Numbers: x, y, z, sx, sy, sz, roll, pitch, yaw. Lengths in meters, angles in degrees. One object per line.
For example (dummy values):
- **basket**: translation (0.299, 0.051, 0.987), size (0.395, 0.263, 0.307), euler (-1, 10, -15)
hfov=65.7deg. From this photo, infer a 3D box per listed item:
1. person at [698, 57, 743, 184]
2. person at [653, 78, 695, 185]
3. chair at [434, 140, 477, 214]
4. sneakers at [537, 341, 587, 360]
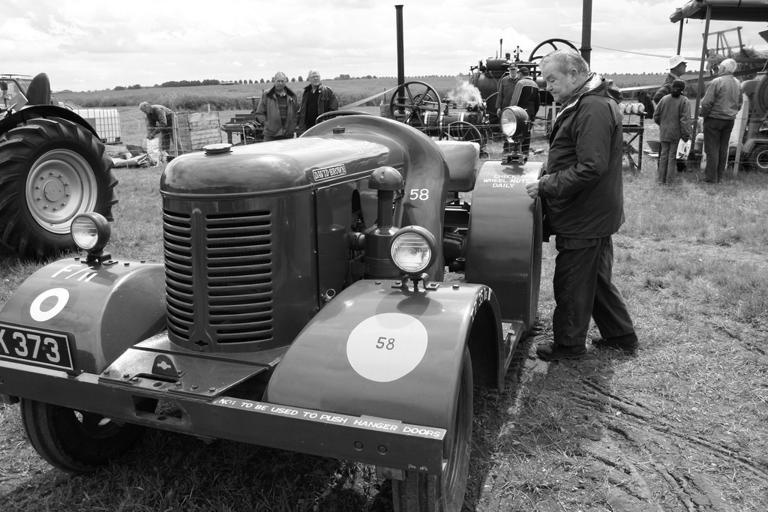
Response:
- **person**: translation (6.415, -2.395, 11.311), size (0.779, 1.984, 0.461), euler (-8, 17, -22)
- **person**: translation (5.627, -2.428, 11.621), size (0.667, 1.957, 0.848), euler (6, 17, 26)
- **chair**: translation (0.744, -0.772, 5.725), size (0.430, 0.501, 0.430), euler (-2, 15, 14)
- **sneakers**: translation (1.591, 0.834, 5.318), size (0.395, 0.212, 0.174), euler (7, 14, 19)
